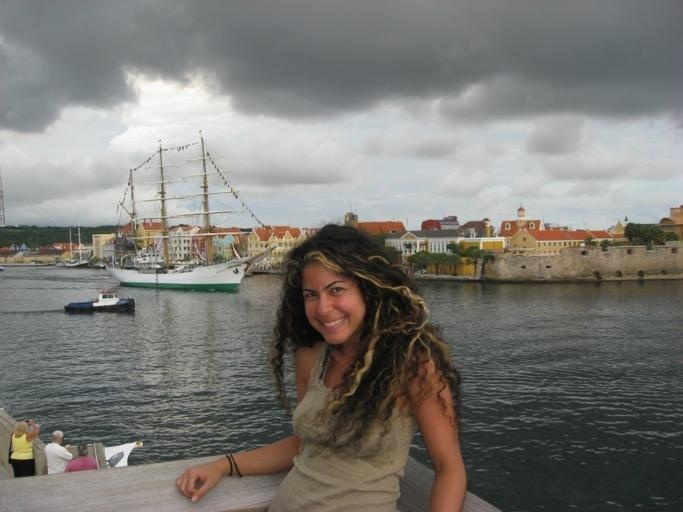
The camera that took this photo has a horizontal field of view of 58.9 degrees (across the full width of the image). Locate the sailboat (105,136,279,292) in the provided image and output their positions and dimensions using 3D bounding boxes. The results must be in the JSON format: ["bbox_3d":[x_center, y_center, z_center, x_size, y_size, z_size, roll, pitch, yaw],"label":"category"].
[{"bbox_3d":[-18.584,-3.222,69.550,25.839,13.556,7.441,-2,-8,24],"label":"sailboat"}]
